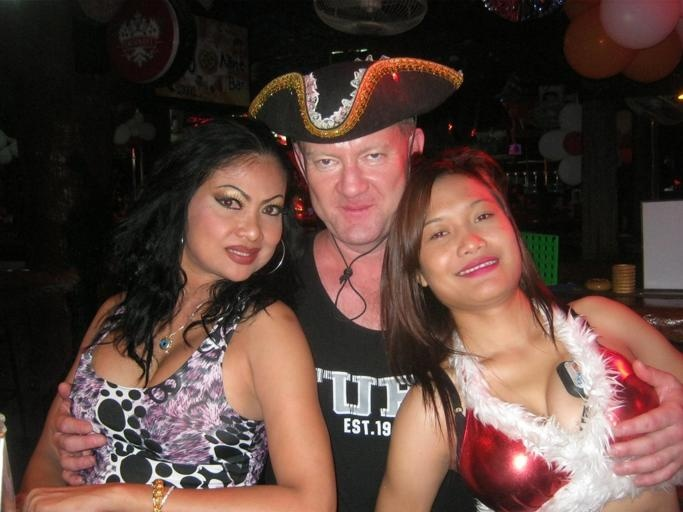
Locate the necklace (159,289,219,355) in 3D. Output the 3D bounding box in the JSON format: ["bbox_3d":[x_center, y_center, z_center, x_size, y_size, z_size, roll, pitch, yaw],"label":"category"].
[{"bbox_3d":[-0.889,0.380,3.575,0.429,0.140,0.076,-41,-21,-15],"label":"necklace"}]
